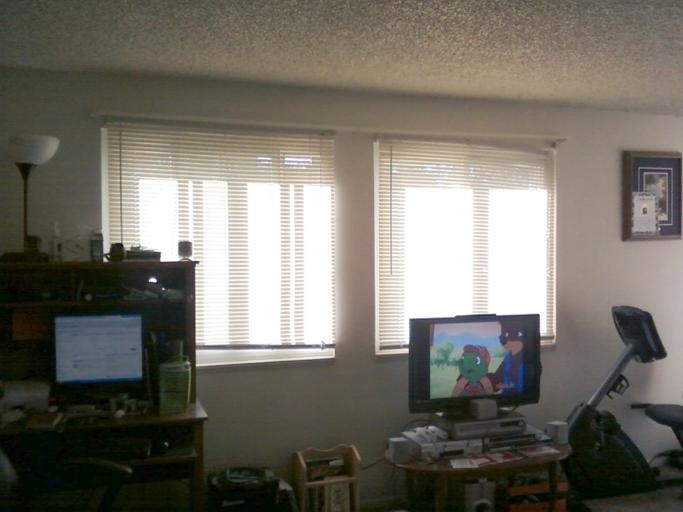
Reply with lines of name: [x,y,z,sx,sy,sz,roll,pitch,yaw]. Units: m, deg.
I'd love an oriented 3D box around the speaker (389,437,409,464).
speaker: [0.369,1.272,4.132,0.184,0.173,0.131,1,3,0]

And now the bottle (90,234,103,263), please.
bottle: [-1.522,-0.055,3.940,0.082,0.122,0.134,1,-1,-29]

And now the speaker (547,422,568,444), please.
speaker: [1.475,1.223,4.301,0.142,0.137,0.100,0,10,-15]

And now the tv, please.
tv: [0.919,0.726,4.305,1.002,0.667,0.107,0,-2,-18]
